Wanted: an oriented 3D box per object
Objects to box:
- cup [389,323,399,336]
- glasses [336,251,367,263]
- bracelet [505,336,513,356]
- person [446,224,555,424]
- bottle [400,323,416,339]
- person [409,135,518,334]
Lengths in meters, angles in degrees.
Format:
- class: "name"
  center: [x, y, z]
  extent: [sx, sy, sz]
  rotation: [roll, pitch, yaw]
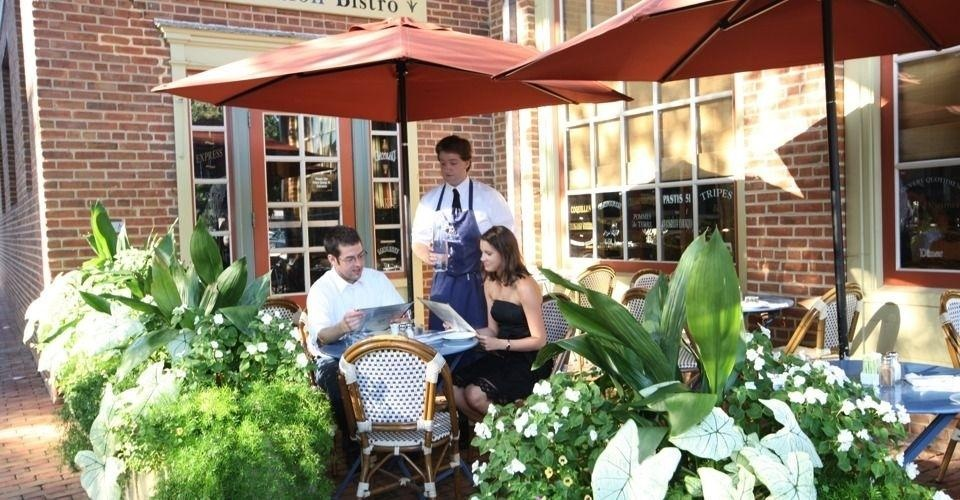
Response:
- class: "cup"
  center: [-0.722, 0.666, 5.882]
  extent: [0.086, 0.102, 0.076]
  rotation: [0, 2, -2]
- class: "glasses"
  center: [-1.166, 0.067, 6.143]
  extent: [0.177, 0.061, 0.179]
  rotation: [-9, 2, -42]
- class: "bracelet"
  center: [0.253, 0.819, 6.085]
  extent: [0.066, 0.093, 0.102]
  rotation: [1, -25, 2]
- class: "person"
  center: [0.141, 0.821, 6.333]
  extent: [1.005, 1.962, 0.808]
  rotation: [-6, 8, -29]
- class: "bottle"
  center: [-0.603, 0.675, 5.910]
  extent: [0.126, 0.164, 0.128]
  rotation: [-2, -1, 0]
- class: "person"
  center: [-0.193, 0.251, 6.904]
  extent: [1.030, 2.603, 0.965]
  rotation: [-6, 12, -26]
